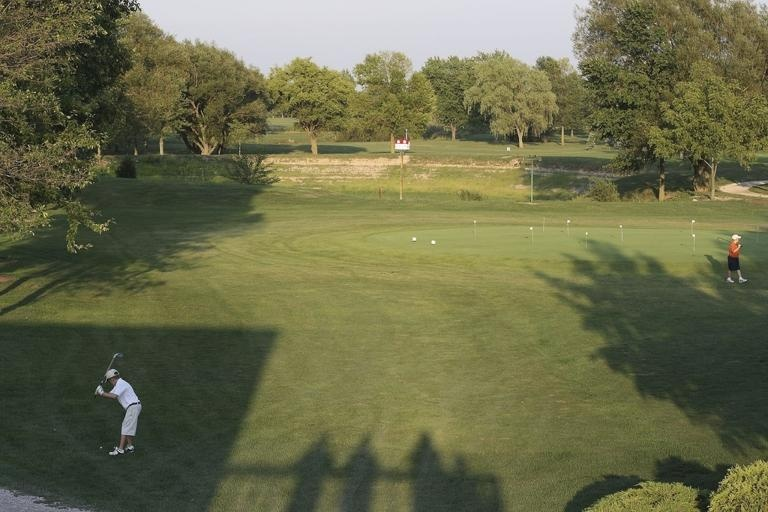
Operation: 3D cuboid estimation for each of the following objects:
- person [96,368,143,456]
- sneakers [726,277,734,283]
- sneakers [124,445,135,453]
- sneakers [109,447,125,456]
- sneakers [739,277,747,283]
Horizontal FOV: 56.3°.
[{"bbox_3d":[-7.668,4.491,20.951,1.049,2.226,1.188,-6,13,-25],"label":"person"},{"bbox_3d":[15.926,1.116,32.927,0.430,0.283,0.156,2,15,12],"label":"sneakers"},{"bbox_3d":[-7.342,5.581,20.739,0.303,0.124,0.118,3,6,-14],"label":"sneakers"},{"bbox_3d":[-7.680,5.602,20.628,0.411,0.171,0.260,3,12,16],"label":"sneakers"},{"bbox_3d":[16.435,1.111,32.893,0.453,0.289,0.189,-7,48,25],"label":"sneakers"}]
